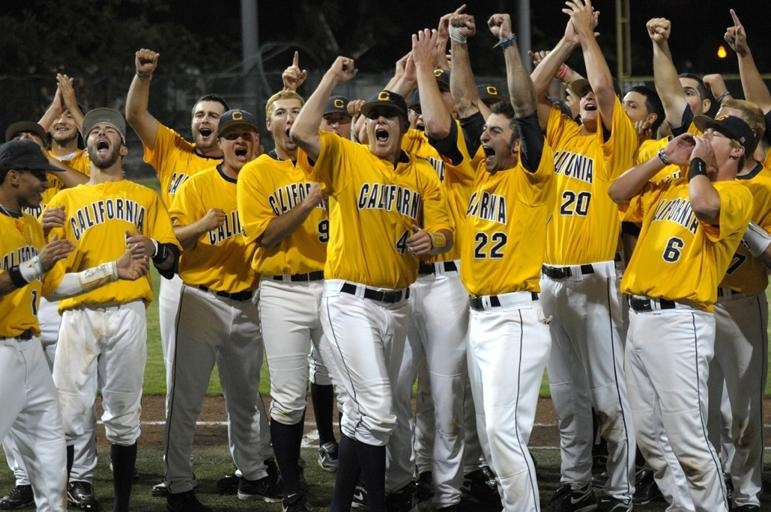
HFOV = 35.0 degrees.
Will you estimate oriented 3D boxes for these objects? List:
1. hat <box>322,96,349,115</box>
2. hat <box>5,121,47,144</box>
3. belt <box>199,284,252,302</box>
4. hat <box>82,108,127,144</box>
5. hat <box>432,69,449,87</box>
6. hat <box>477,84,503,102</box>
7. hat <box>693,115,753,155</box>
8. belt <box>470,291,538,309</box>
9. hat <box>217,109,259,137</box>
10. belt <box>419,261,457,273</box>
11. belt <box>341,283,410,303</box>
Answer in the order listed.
[{"bbox_3d":[-0.534,-1.667,13.296,0.251,0.198,0.344,-1,0,-1],"label":"hat"},{"bbox_3d":[-4.125,-1.452,14.002,0.435,0.245,0.579,-1,0,-19],"label":"hat"},{"bbox_3d":[-1.652,0.381,12.839,0.279,0.068,0.266,16,0,14],"label":"belt"},{"bbox_3d":[-2.945,-1.399,12.743,0.430,0.343,0.504,-1,0,-15],"label":"hat"},{"bbox_3d":[0.613,-1.942,13.100,0.150,0.171,0.233,-1,0,-2],"label":"hat"},{"bbox_3d":[1.152,-1.806,13.313,0.239,0.203,0.395,-1,0,4],"label":"hat"},{"bbox_3d":[3.356,-1.216,12.007,0.494,0.157,0.346,27,6,1],"label":"hat"},{"bbox_3d":[1.159,0.424,11.920,0.649,0.189,0.174,-1,0,4],"label":"belt"},{"bbox_3d":[-1.598,-1.449,13.055,0.417,0.279,0.402,-1,0,-1],"label":"hat"},{"bbox_3d":[0.551,0.106,12.745,0.390,0.139,0.082,-1,0,12],"label":"belt"},{"bbox_3d":[-0.089,0.349,12.059,0.717,0.200,0.183,-1,0,-31],"label":"belt"}]
